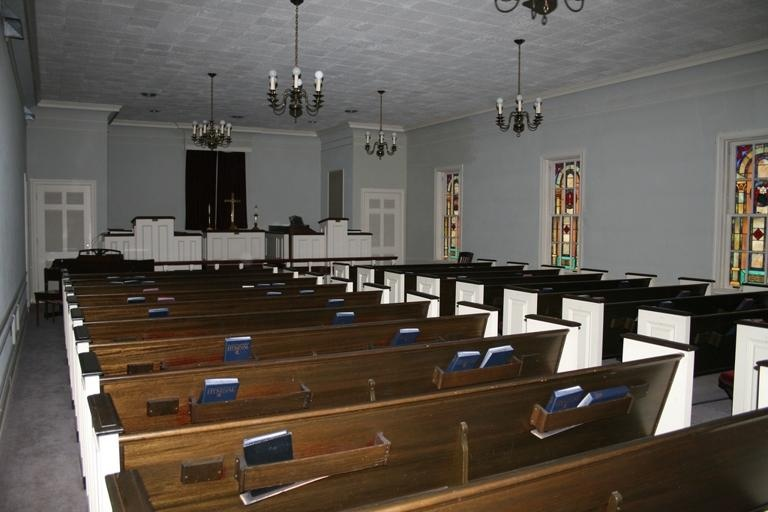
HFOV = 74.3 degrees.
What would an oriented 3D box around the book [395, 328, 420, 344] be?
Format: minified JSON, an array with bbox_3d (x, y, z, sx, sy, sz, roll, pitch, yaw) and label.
[{"bbox_3d":[0.165,0.594,3.753,0.179,0.119,0.062,-4,4,-30],"label":"book"}]

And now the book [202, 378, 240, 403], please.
[{"bbox_3d":[-0.869,0.708,2.679,0.149,0.130,0.049,2,0,-30],"label":"book"}]

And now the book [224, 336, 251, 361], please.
[{"bbox_3d":[-0.987,0.618,3.398,0.170,0.143,0.085,1,-1,-26],"label":"book"}]

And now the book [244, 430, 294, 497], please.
[{"bbox_3d":[-0.518,0.853,2.237,0.273,0.258,0.066,-5,-6,-26],"label":"book"}]
